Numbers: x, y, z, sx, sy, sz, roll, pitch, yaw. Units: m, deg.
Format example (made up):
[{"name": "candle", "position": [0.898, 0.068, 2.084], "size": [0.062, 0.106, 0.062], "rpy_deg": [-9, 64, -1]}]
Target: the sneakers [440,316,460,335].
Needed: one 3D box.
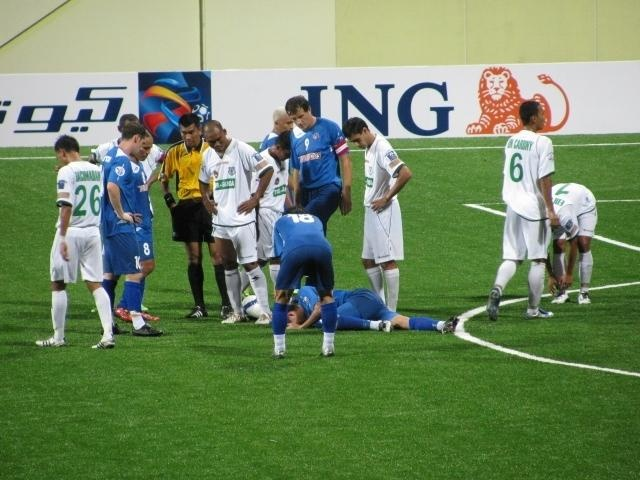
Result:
[{"name": "sneakers", "position": [1.857, 1.221, 16.262], "size": [0.151, 0.139, 0.339], "rpy_deg": [3, -26, -9]}]

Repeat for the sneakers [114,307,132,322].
[{"name": "sneakers", "position": [-3.034, 1.147, 17.422], "size": [0.275, 0.137, 0.103], "rpy_deg": [36, 43, 14]}]

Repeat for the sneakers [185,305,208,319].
[{"name": "sneakers", "position": [-1.917, 1.150, 17.865], "size": [0.153, 0.150, 0.337], "rpy_deg": [-4, -7, 27]}]

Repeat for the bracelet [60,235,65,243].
[{"name": "bracelet", "position": [-3.511, -0.026, 15.412], "size": [0.089, 0.071, 0.092], "rpy_deg": [0, -2, 0]}]

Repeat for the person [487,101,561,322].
[{"name": "person", "position": [3.135, -0.440, 17.224], "size": [0.942, 3.273, 1.210], "rpy_deg": [1, 12, 11]}]

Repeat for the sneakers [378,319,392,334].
[{"name": "sneakers", "position": [0.948, 1.258, 16.454], "size": [0.109, 0.110, 0.247], "rpy_deg": [-7, 2, -9]}]

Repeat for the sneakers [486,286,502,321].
[{"name": "sneakers", "position": [2.632, 0.955, 17.076], "size": [0.186, 0.561, 0.252], "rpy_deg": [3, -1, 15]}]

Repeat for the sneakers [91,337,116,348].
[{"name": "sneakers", "position": [-2.988, 1.428, 15.737], "size": [0.352, 0.164, 0.124], "rpy_deg": [1, 4, 2]}]

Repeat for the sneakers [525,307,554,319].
[{"name": "sneakers", "position": [3.329, 1.097, 17.213], "size": [0.430, 0.194, 0.158], "rpy_deg": [0, 4, -6]}]

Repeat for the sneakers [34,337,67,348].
[{"name": "sneakers", "position": [-3.781, 1.438, 15.870], "size": [0.391, 0.167, 0.159], "rpy_deg": [4, -3, 2]}]

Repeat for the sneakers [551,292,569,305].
[{"name": "sneakers", "position": [3.926, 0.946, 18.440], "size": [0.137, 0.161, 0.334], "rpy_deg": [-2, 7, 45]}]

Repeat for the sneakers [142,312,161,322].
[{"name": "sneakers", "position": [-2.664, 1.181, 17.614], "size": [0.348, 0.165, 0.123], "rpy_deg": [3, 6, 34]}]

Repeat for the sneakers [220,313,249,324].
[{"name": "sneakers", "position": [-1.311, 1.190, 17.329], "size": [0.399, 0.171, 0.146], "rpy_deg": [2, 2, -10]}]

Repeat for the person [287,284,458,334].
[{"name": "person", "position": [0.718, 1.121, 16.772], "size": [2.214, 0.693, 0.957], "rpy_deg": [0, -21, 11]}]

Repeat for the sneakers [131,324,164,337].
[{"name": "sneakers", "position": [-2.510, 1.317, 16.517], "size": [0.422, 0.195, 0.168], "rpy_deg": [1, 0, -1]}]

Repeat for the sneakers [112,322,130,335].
[{"name": "sneakers", "position": [-2.917, 1.315, 16.702], "size": [0.301, 0.135, 0.104], "rpy_deg": [5, 3, -15]}]
